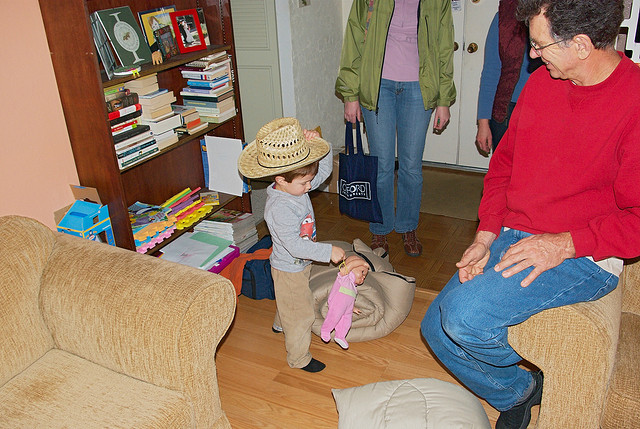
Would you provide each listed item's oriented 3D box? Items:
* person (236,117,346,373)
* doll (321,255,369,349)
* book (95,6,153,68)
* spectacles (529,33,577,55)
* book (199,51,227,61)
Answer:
[{"bbox_3d":[-0.153,0.183,2.629,0.531,1.342,0.528,-1,21,-2],"label":"person"},{"bbox_3d":[0.153,0.468,2.571,0.176,0.201,0.507,1,68,35],"label":"doll"},{"bbox_3d":[-1.112,-1.026,2.664,0.212,0.290,0.237,20,38,33],"label":"book"},{"bbox_3d":[0.901,-0.674,1.823,0.035,0.083,0.175,-28,39,-35],"label":"spectacles"},{"bbox_3d":[-0.692,-1.049,3.051,0.204,0.036,0.043,-29,39,-36],"label":"book"}]
